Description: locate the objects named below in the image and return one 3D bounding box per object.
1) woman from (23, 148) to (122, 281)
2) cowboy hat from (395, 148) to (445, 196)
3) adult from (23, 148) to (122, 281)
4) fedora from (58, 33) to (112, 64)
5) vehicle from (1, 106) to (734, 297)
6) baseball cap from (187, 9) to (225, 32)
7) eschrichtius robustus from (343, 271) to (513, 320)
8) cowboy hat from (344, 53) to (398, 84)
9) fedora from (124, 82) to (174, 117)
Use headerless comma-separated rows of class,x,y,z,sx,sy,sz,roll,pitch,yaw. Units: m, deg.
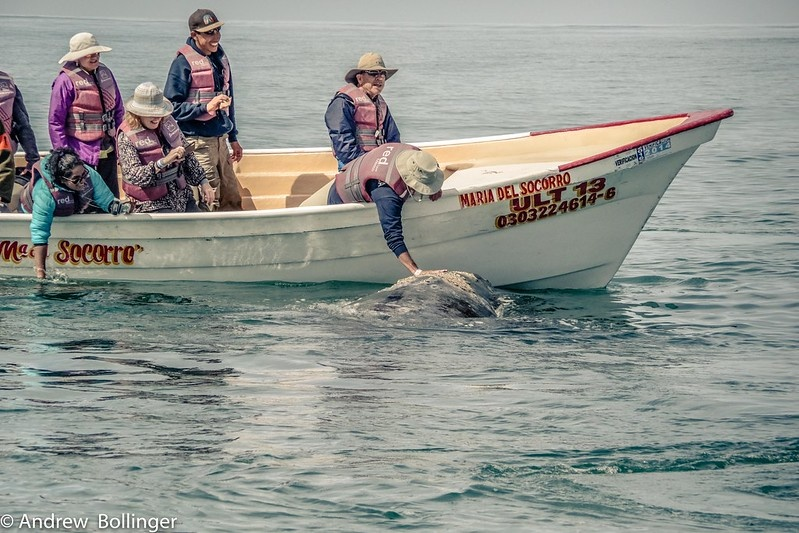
woman,-4.031,-0.685,17.076,1.179,1.625,0.650,-7,29,-28
cowboy hat,0.182,-1.162,16.886,0.596,0.534,0.356,17,26,27
adult,-4.026,-0.684,17.075,1.186,1.625,0.643,-6,29,-28
fedora,-3.965,-2.731,17.176,0.815,0.210,0.537,-14,16,3
vehicle,0.976,-0.655,17.970,11.925,1.823,2.714,0,24,6
baseball cap,-2.462,-3.145,17.600,0.616,0.213,0.357,-4,15,27
eschrichtius robustus,0.447,0.342,16.783,1.828,0.451,0.893,-4,19,-23
cowboy hat,-0.445,-2.601,17.966,0.654,0.163,0.581,-1,-2,-15
fedora,-3.075,-2.025,16.764,0.648,0.163,0.516,0,22,-13
